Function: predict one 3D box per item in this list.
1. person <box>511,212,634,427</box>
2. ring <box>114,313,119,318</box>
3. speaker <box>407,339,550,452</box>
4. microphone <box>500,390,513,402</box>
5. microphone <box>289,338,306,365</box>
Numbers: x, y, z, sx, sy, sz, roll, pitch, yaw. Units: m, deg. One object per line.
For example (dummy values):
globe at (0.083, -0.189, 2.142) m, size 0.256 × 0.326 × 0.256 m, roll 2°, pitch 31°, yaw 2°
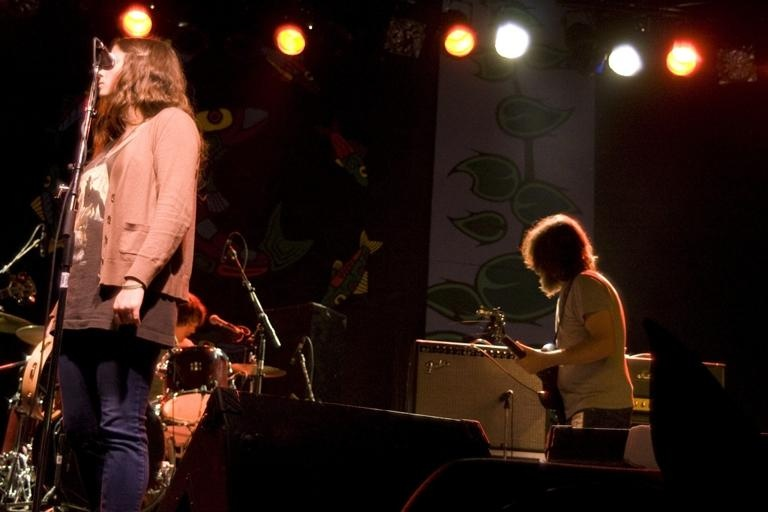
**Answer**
person at (1.152, 0.400, 4.612) m, size 0.680 × 1.627 × 0.644 m, roll -6°, pitch -33°, yaw 17°
ring at (-1.274, 0.286, 3.492) m, size 0.023 × 0.018 × 0.024 m, roll 2°, pitch -7°, yaw 0°
speaker at (0.685, 0.989, 5.122) m, size 0.851 × 0.751 × 0.320 m, roll 1°, pitch -14°, yaw -2°
microphone at (0.949, 1.089, 5.707) m, size 0.064 × 0.102 × 0.100 m, roll 14°, pitch -10°, yaw -11°
microphone at (-0.698, 0.782, 6.034) m, size 0.051 × 0.215 × 0.218 m, roll 16°, pitch -4°, yaw 9°
